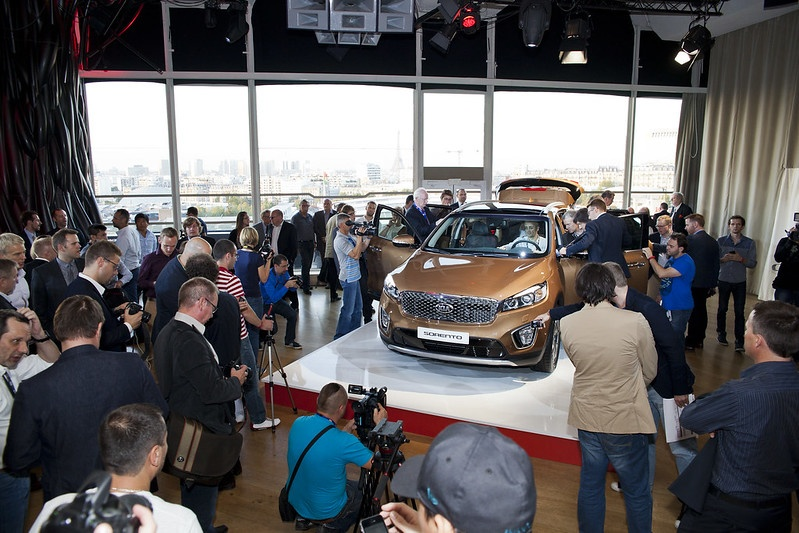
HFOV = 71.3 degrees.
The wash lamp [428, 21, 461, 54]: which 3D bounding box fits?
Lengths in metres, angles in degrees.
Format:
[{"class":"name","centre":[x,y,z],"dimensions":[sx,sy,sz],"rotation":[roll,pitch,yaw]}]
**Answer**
[{"class":"wash lamp","centre":[0.827,-4.047,9.605],"dimensions":[0.401,0.185,0.685],"rotation":[28,54,6]}]

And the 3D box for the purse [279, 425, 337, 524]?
[{"class":"purse","centre":[-0.686,1.542,4.080],"dimensions":[0.437,0.769,0.116],"rotation":[0,10,3]}]

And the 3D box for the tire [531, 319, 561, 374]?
[{"class":"tire","centre":[1.498,0.820,5.751],"dimensions":[0.178,0.594,0.555],"rotation":[3,15,27]}]
